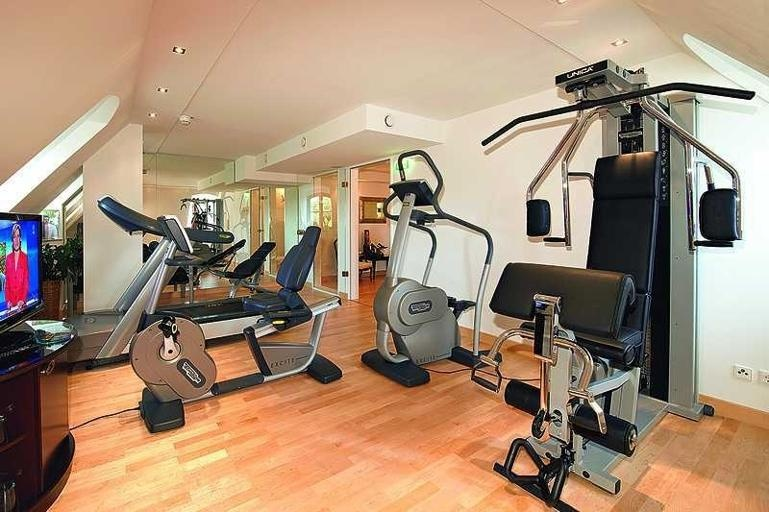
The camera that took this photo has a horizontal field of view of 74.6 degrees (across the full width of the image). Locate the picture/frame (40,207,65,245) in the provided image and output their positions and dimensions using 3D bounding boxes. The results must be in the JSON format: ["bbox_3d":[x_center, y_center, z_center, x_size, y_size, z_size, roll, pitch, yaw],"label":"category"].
[{"bbox_3d":[-4.733,-0.451,7.043,0.208,0.514,0.575,10,3,-10],"label":"picture/frame"}]

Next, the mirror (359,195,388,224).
[{"bbox_3d":[-0.269,-0.910,9.691,0.928,0.596,0.086,-3,5,-44],"label":"mirror"}]

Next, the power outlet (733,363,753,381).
[{"bbox_3d":[2.952,0.947,4.146,0.024,0.150,0.142,-8,13,-44],"label":"power outlet"}]

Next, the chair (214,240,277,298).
[{"bbox_3d":[-1.889,0.132,6.886,0.682,0.844,0.660,3,7,-39],"label":"chair"}]

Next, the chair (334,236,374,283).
[{"bbox_3d":[-0.615,0.044,9.739,0.597,0.824,0.544,1,7,18],"label":"chair"}]

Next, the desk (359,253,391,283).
[{"bbox_3d":[-0.200,0.197,10.021,0.547,0.725,0.534,-2,-2,41],"label":"desk"}]

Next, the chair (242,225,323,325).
[{"bbox_3d":[-0.966,0.184,4.789,0.579,0.941,0.590,-1,8,-35],"label":"chair"}]

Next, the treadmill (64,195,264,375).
[{"bbox_3d":[-2.304,0.269,5.516,2.095,1.429,0.949,-2,10,-37],"label":"treadmill"}]
